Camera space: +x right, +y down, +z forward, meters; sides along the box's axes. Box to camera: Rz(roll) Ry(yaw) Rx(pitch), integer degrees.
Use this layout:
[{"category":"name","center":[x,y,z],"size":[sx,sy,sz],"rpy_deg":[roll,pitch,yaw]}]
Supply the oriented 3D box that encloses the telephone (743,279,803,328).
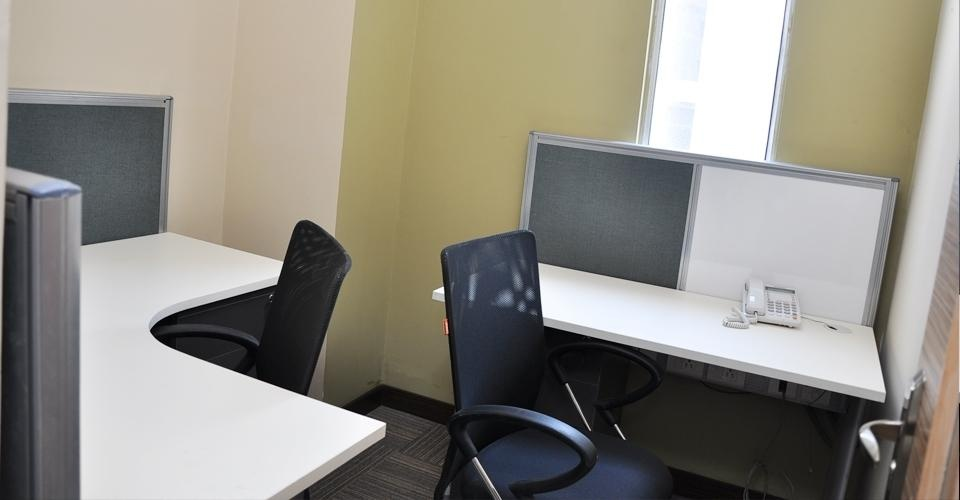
[{"category":"telephone","center":[1.638,0.282,3.445],"size":[0.307,0.128,0.357],"rpy_deg":[13,28,19]}]
